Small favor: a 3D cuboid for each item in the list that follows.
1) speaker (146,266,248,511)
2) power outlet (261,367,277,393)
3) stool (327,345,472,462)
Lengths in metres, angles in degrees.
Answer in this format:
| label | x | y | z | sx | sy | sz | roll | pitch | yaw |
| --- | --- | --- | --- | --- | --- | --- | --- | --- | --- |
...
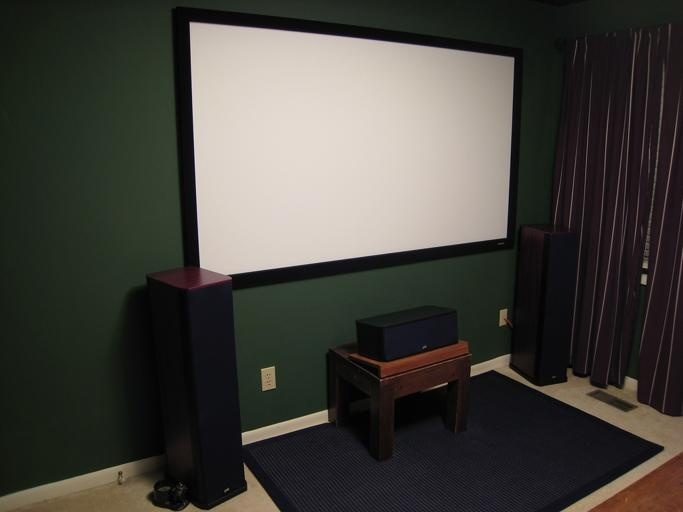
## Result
| label | x | y | z | sx | sy | sz | roll | pitch | yaw |
| --- | --- | --- | --- | --- | --- | --- | --- | --- | --- |
| speaker | -0.804 | 0.740 | 2.949 | 0.497 | 1.237 | 0.347 | -1 | 15 | -1 |
| power outlet | -0.468 | 0.777 | 3.414 | 0.136 | 0.216 | 0.017 | -7 | 15 | -37 |
| stool | 0.340 | 0.731 | 3.478 | 0.689 | 0.590 | 0.723 | -9 | 15 | -31 |
